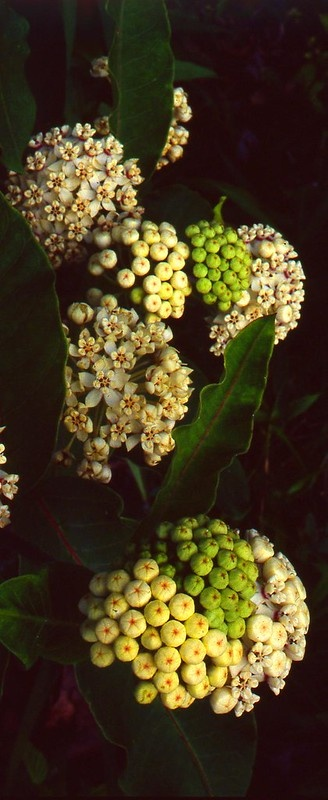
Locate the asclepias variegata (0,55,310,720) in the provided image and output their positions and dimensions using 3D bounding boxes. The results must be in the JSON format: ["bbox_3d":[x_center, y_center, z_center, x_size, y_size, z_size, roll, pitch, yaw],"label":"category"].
[{"bbox_3d":[-0.015,-0.056,0.836,0.402,0.254,0.695,-18,98,-25],"label":"asclepias variegata"}]
